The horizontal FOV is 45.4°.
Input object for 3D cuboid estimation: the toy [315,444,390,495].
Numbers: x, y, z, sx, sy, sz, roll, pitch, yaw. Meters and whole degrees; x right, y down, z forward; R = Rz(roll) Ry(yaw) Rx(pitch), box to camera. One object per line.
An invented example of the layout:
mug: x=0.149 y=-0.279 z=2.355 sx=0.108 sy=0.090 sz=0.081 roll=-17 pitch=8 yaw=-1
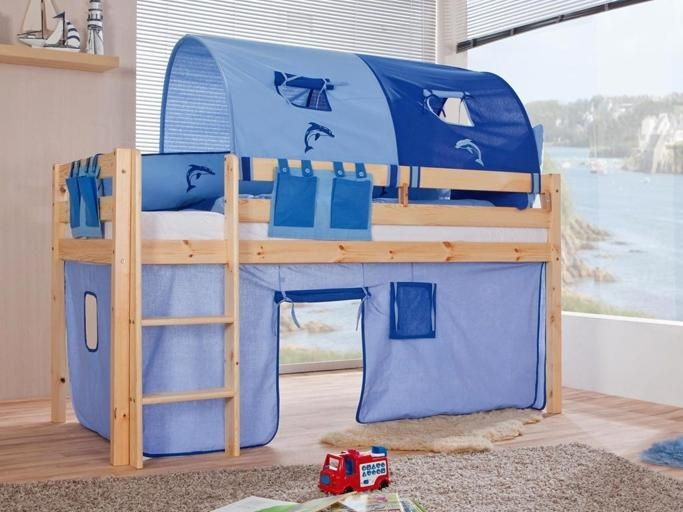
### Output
toy: x=0.047 y=0.910 z=3.488 sx=0.263 sy=0.160 sz=0.165 roll=2 pitch=-5 yaw=-28
